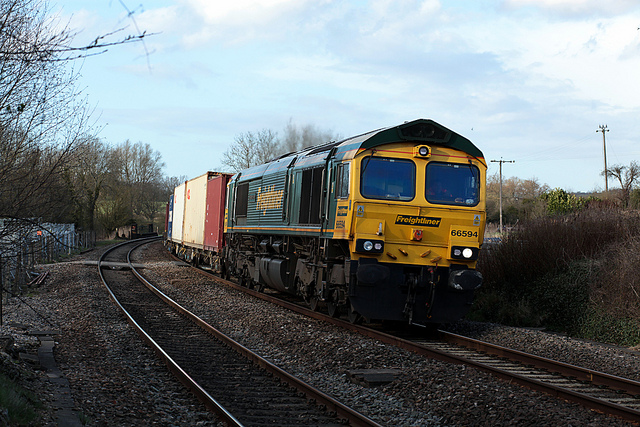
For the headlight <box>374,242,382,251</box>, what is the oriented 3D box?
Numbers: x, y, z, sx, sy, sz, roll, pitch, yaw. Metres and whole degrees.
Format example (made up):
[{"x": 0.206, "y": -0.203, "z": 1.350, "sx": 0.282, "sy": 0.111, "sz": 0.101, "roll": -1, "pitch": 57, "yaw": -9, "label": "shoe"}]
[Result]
[{"x": 1.403, "y": 0.805, "z": 11.327, "sx": 0.183, "sy": 0.197, "sz": 0.052, "roll": 1, "pitch": -1, "yaw": 6, "label": "headlight"}]

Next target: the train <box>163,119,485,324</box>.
[{"x": -2.172, "y": 0.306, "z": 21.874, "sx": 4.257, "sy": 5.785, "sz": 23.457, "roll": 1, "pitch": 0, "yaw": -23, "label": "train"}]
